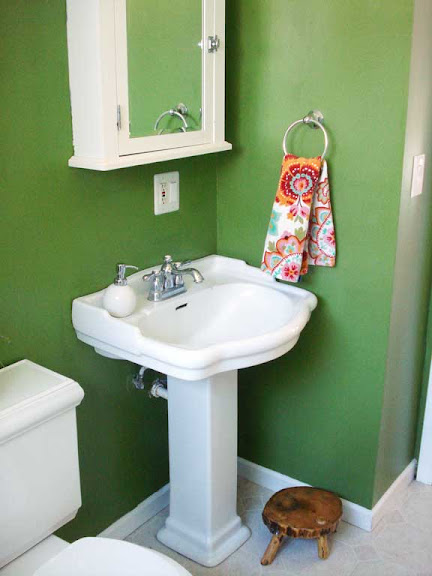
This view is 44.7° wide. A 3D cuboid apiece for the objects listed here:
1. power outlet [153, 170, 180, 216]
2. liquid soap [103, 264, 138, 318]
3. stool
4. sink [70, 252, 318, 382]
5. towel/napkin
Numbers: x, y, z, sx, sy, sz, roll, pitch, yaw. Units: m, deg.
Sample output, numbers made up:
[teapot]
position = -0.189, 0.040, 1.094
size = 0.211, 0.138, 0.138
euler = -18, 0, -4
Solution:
[power outlet]
position = -0.143, -0.279, 1.528
size = 0.026, 0.123, 0.125
euler = 6, 15, 27
[liquid soap]
position = -0.237, 0.000, 1.321
size = 0.102, 0.134, 0.078
euler = -9, 16, -34
[stool]
position = 0.270, 0.723, 1.600
size = 0.212, 0.168, 0.292
euler = 8, 16, 31
[sink]
position = -0.005, 0.064, 1.441
size = 0.507, 0.191, 0.612
euler = 9, 16, 32
[towel/napkin]
position = 0.240, -0.210, 1.491
size = 0.184, 0.332, 0.184
euler = 3, 24, 12
